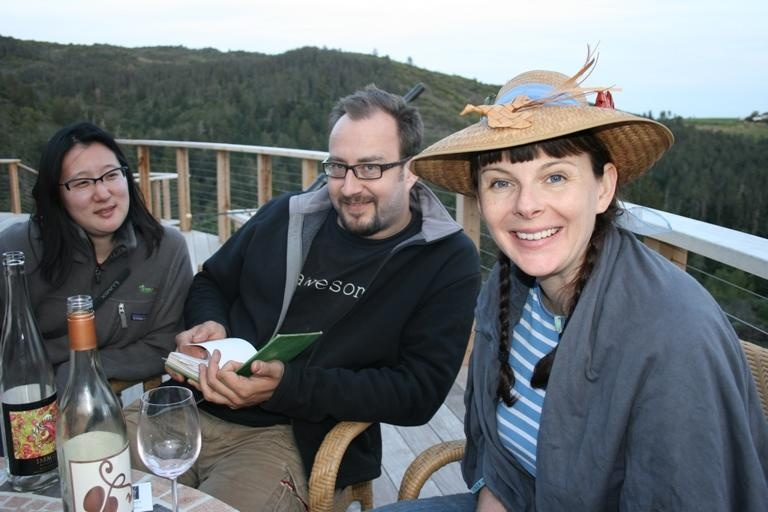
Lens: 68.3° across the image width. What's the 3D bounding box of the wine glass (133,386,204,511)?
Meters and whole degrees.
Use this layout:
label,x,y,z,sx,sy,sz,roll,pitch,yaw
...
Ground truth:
label,x,y,z,sx,sy,sz,roll,pitch,yaw
wine glass,-0.600,0.526,1.569,0.189,0.314,0.152,17,24,31
